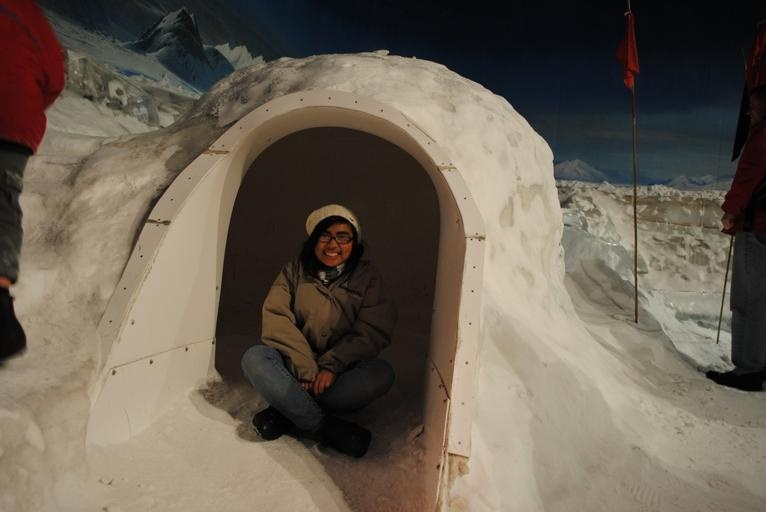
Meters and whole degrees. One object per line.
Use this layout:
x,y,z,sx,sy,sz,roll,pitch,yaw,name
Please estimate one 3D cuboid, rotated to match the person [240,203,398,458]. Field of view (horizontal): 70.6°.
-0.361,0.367,3.166,0.835,1.394,0.772,5,-5,-15,person
